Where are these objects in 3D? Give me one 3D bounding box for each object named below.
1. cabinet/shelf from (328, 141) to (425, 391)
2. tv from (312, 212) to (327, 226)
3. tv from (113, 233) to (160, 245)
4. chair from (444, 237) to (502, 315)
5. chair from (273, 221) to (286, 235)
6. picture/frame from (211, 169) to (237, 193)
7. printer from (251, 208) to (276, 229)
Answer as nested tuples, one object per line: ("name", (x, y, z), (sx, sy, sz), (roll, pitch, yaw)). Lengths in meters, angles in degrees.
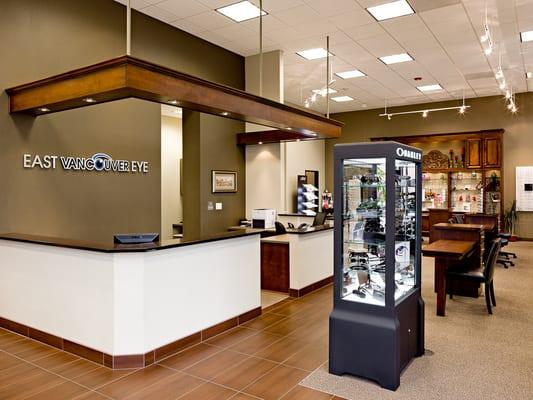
("cabinet/shelf", (1.253, 0.635, 4.148), (1.150, 2.515, 0.859), (0, 7, -2))
("tv", (1.122, 0.415, 8.114), (0.254, 0.260, 0.640), (1, 7, 7))
("tv", (-1.611, 0.480, 4.679), (0.515, 0.132, 0.248), (-2, 7, -19))
("chair", (3.337, 1.200, 6.547), (1.132, 1.597, 1.023), (0, -2, 28))
("chair", (0.260, 0.546, 7.428), (0.227, 0.286, 0.220), (2, 1, -30))
("picture/frame", (-1.020, -0.427, 9.017), (0.073, 0.571, 0.886), (5, 8, 35))
("printer", (-0.090, 0.410, 8.734), (0.447, 0.440, 0.445), (0, 3, -31))
